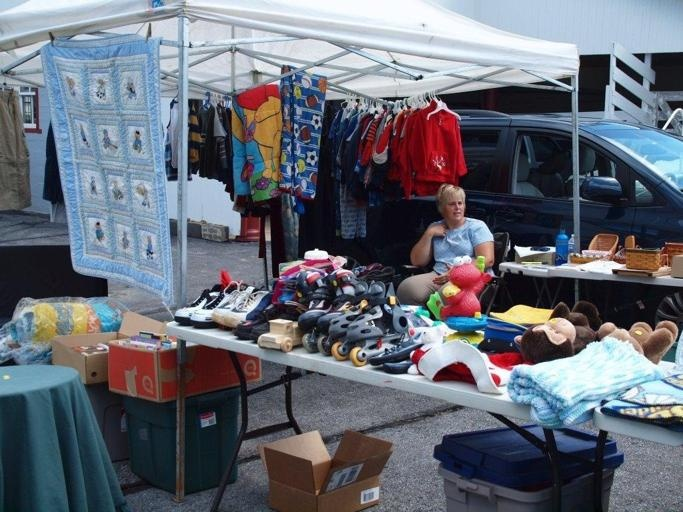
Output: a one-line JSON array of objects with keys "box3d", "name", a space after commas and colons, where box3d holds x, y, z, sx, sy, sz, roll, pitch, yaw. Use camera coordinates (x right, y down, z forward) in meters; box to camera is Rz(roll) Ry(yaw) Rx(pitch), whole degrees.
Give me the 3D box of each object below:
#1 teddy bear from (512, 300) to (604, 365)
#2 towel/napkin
[{"box3d": [0.900, 0.304, 2.478, 0.317, 0.267, 0.387, 7, 9, 33], "name": "teddy bear"}, {"box3d": [0.887, 0.442, 2.219, 0.555, 0.211, 0.266, -7, 13, -28], "name": "towel/napkin"}]
